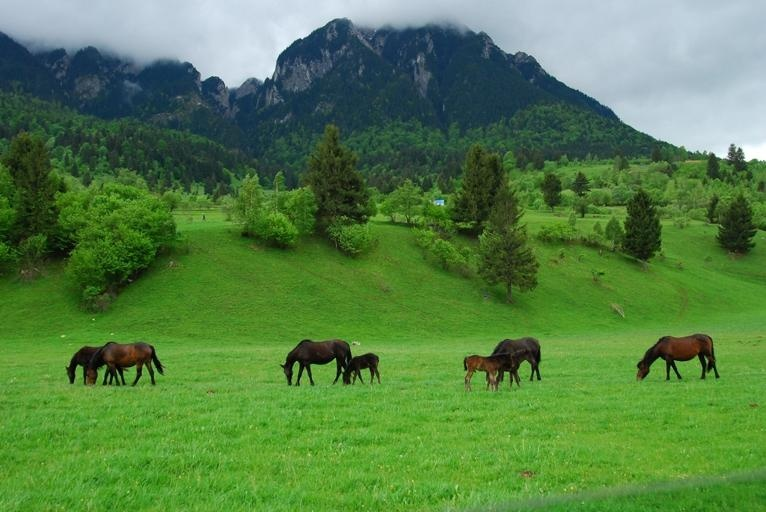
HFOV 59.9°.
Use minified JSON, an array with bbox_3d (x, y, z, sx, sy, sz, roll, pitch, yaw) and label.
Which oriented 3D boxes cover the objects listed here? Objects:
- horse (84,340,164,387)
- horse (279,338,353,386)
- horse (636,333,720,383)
[{"bbox_3d":[-35.268,14.650,90.784,10.232,6.106,2.618,-2,-2,-6],"label":"horse"},{"bbox_3d":[-9.013,14.559,90.879,9.700,6.400,2.554,-4,-11,-11],"label":"horse"},{"bbox_3d":[40.097,13.361,89.174,10.055,5.959,3.400,-1,11,2],"label":"horse"}]
